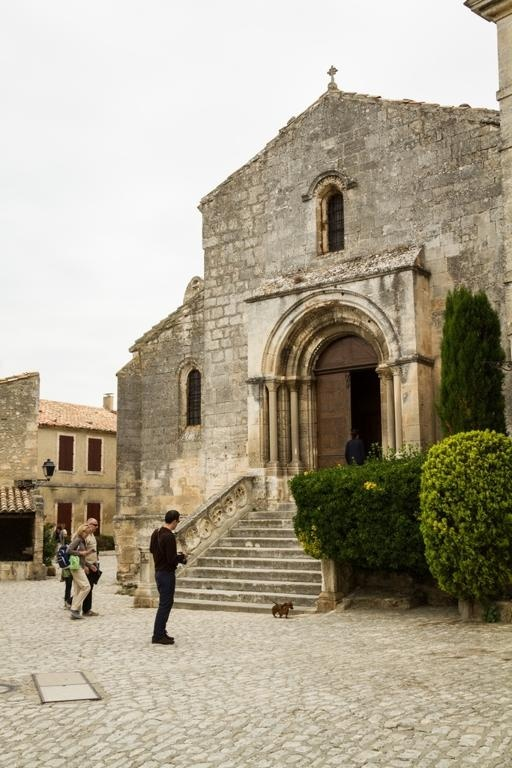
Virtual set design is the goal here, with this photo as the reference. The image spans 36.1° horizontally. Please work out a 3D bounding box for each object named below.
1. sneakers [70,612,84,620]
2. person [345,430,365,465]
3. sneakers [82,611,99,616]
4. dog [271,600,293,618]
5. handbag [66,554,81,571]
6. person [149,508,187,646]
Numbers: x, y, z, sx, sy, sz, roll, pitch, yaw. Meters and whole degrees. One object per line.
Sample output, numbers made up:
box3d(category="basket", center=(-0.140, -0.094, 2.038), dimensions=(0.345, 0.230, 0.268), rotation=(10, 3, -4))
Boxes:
box3d(category="sneakers", center=(-2.472, 3.150, 10.749), dimensions=(0.154, 0.110, 0.172), rotation=(-2, -9, -6))
box3d(category="person", center=(1.679, 1.102, 13.485), dimensions=(0.329, 0.610, 1.381), rotation=(-4, -9, 6))
box3d(category="sneakers", center=(-2.336, 3.208, 11.025), dimensions=(0.212, 0.091, 0.076), rotation=(0, -5, -2))
box3d(category="dog", center=(0.371, 2.900, 10.104), dimensions=(0.370, 0.254, 0.122), rotation=(-3, -1, 2))
box3d(category="handbag", center=(-2.495, 2.445, 10.730), dimensions=(0.135, 0.216, 0.155), rotation=(-2, -9, -9))
box3d(category="person", center=(-1.001, 2.137, 8.850), dimensions=(0.389, 1.391, 1.065), rotation=(-2, -9, -6))
